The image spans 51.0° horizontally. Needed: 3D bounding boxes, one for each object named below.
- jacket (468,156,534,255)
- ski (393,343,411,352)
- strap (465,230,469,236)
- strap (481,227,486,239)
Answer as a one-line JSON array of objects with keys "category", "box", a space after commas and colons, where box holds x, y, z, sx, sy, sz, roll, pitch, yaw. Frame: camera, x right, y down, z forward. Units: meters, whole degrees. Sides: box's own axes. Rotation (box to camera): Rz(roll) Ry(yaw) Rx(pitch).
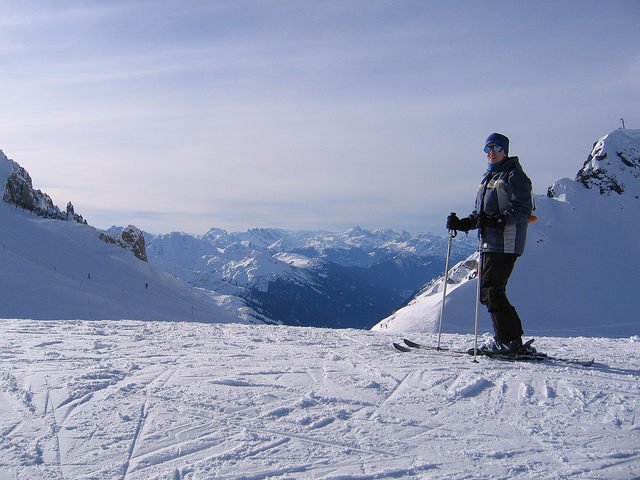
[{"category": "jacket", "box": [4.451, -0.784, 16.317, 1.180, 2.453, 0.824, 1, 3, 20]}, {"category": "ski", "box": [2.122, 2.783, 17.330, 0.122, 0.086, 0.822, 9, -3, -12]}, {"category": "strap", "box": [3.667, -0.189, 16.730, 0.042, 0.137, 0.153, 2, 4, -11]}, {"category": "strap", "box": [4.068, -0.166, 16.659, 0.160, 0.213, 0.079, 7, 2, -26]}]
